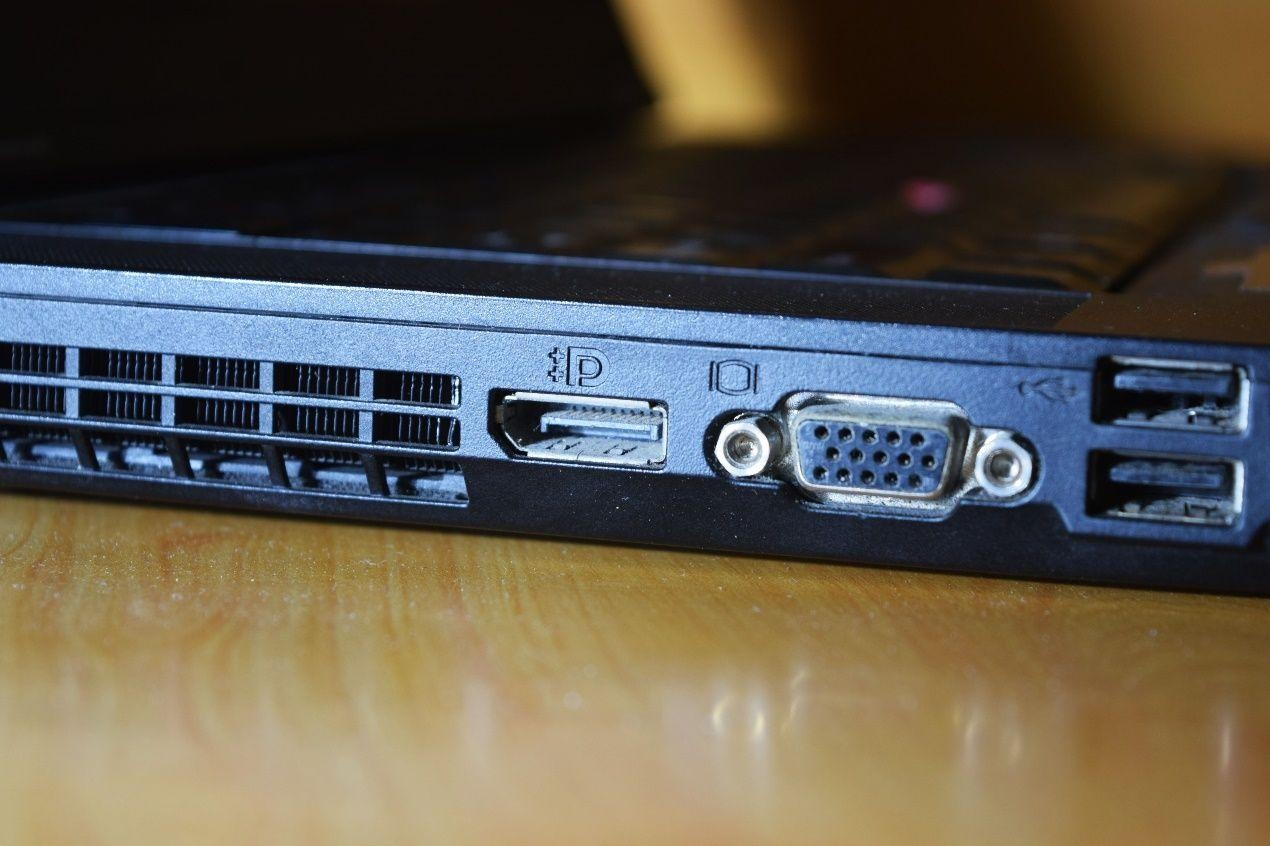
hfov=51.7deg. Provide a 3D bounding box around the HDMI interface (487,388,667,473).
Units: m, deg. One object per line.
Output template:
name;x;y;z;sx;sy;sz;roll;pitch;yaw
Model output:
HDMI interface;-0.045;0.006;1.221;0.116;0.037;0.085;6;23;9
